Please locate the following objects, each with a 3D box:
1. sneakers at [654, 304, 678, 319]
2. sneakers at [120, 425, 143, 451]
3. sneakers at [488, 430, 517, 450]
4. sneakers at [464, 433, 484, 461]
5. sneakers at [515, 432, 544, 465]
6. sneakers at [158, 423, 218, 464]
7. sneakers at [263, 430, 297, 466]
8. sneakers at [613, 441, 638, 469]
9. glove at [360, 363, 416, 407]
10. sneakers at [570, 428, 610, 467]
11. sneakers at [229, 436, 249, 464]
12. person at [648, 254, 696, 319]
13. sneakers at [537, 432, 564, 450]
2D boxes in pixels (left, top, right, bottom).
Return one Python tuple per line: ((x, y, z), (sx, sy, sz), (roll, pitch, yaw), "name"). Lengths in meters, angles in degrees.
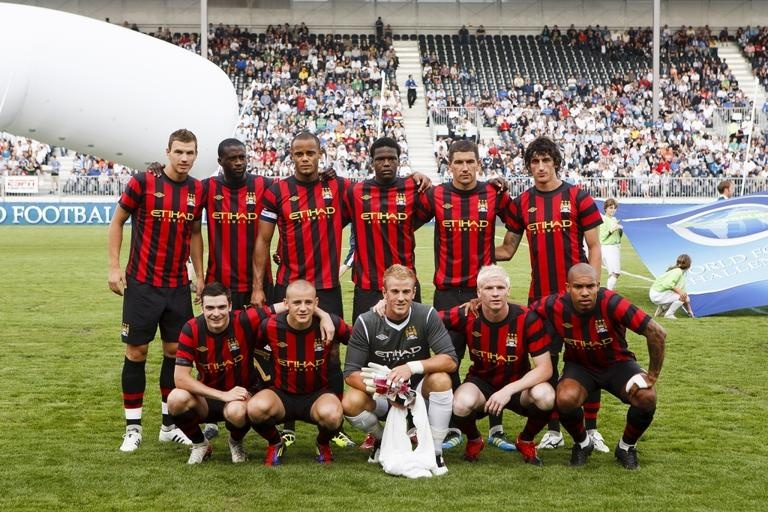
((3.542, 0.701, 10.504), (0.207, 0.245, 0.148), (0, 4, 3), "sneakers")
((-2.042, 1.459, 6.744), (0.169, 0.144, 0.253), (-3, 14, -13), "sneakers")
((0.962, 1.508, 6.853), (0.198, 0.080, 0.251), (-2, 14, -8), "sneakers")
((0.706, 1.508, 6.598), (0.146, 0.174, 0.125), (-1, 14, -3), "sneakers")
((1.149, 1.494, 6.643), (0.197, 0.209, 0.324), (2, 14, 7), "sneakers")
((-1.627, 1.477, 6.734), (0.568, 0.270, 0.195), (11, 44, 21), "sneakers")
((-0.809, 1.500, 6.608), (0.116, 0.151, 0.350), (5, 47, 20), "sneakers")
((1.889, 1.554, 6.493), (0.090, 0.135, 0.258), (-3, 6, -8), "sneakers")
((0.038, 0.982, 6.503), (0.416, 0.265, 0.171), (28, -2, 1), "glove")
((1.649, 1.482, 6.631), (0.195, 0.201, 0.537), (9, 16, 32), "sneakers")
((-1.145, 1.498, 6.583), (0.129, 0.204, 0.222), (-2, 14, -10), "sneakers")
((3.669, 0.379, 10.535), (0.523, 0.787, 0.582), (4, -1, 24), "person")
((1.370, 1.507, 6.840), (0.282, 0.121, 0.093), (1, -6, -32), "sneakers")
